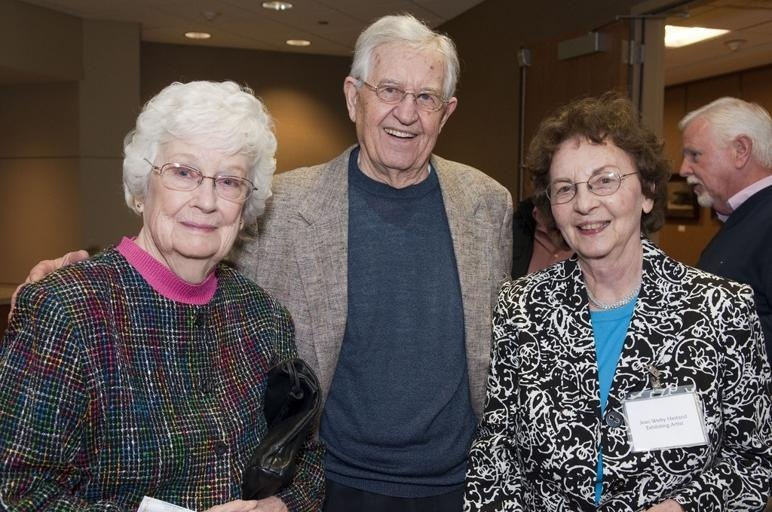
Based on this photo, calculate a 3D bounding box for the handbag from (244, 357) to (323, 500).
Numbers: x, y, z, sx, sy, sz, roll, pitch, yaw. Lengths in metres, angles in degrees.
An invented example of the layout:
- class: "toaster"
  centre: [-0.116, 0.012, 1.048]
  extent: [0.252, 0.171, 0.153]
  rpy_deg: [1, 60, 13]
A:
- class: "handbag"
  centre: [-0.416, 0.686, 2.623]
  extent: [0.299, 0.528, 0.200]
  rpy_deg: [-6, 1, -9]

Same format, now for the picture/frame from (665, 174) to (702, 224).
- class: "picture/frame"
  centre: [4.507, -0.913, 10.219]
  extent: [0.455, 0.492, 0.031]
  rpy_deg: [2, 1, 6]
